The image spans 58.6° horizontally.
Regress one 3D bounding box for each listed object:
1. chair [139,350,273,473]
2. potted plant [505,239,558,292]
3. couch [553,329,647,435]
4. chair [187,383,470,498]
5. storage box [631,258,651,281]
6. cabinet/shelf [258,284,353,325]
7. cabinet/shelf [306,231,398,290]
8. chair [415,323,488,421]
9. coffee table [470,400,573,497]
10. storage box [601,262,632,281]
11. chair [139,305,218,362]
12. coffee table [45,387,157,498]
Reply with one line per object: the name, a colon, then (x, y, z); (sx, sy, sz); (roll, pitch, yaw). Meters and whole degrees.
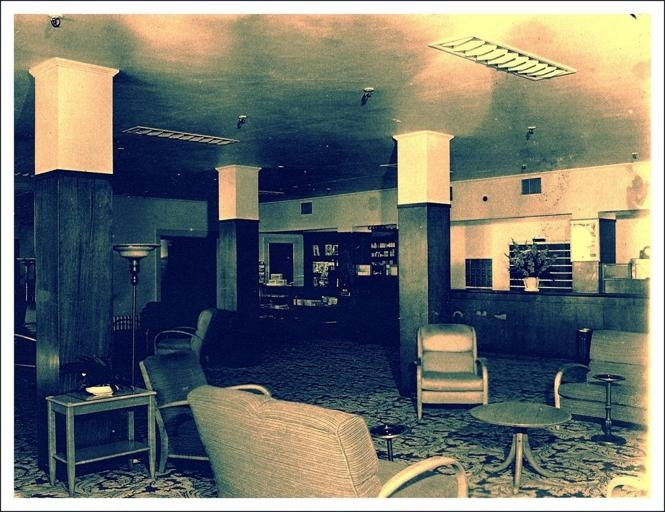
chair: (-1.374, 1.405, 5.599); (0.739, 0.790, 0.870); (-8, 6, -22)
potted plant: (4.210, 0.132, 12.321); (1.150, 1.242, 1.108); (-1, 2, -16)
couch: (3.344, 1.412, 6.847); (0.991, 0.926, 1.219); (-7, 0, -34)
chair: (0.038, 1.469, 4.673); (1.142, 0.759, 0.669); (0, 4, 41)
storage box: (5.787, 0.260, 11.093); (0.408, 0.386, 0.398); (-2, 4, -37)
cabinet/shelf: (-0.775, 1.227, 15.316); (3.053, 0.873, 0.945); (0, 1, 34)
cabinet/shelf: (0.607, 0.010, 15.693); (2.686, 1.692, 1.495); (-1, 0, 41)
chair: (1.471, 1.415, 7.449); (0.941, 1.044, 1.195); (0, -1, -1)
coffee table: (1.778, 1.798, 5.588); (0.911, 0.550, 0.885); (-6, -7, 2)
storage box: (5.461, 0.295, 11.338); (0.392, 0.232, 0.394); (1, 1, 26)
chair: (-2.525, 1.423, 9.910); (1.039, 1.034, 0.763); (3, -3, -17)
coffee table: (-2.113, 1.689, 5.495); (0.835, 0.738, 0.507); (0, -7, -37)
